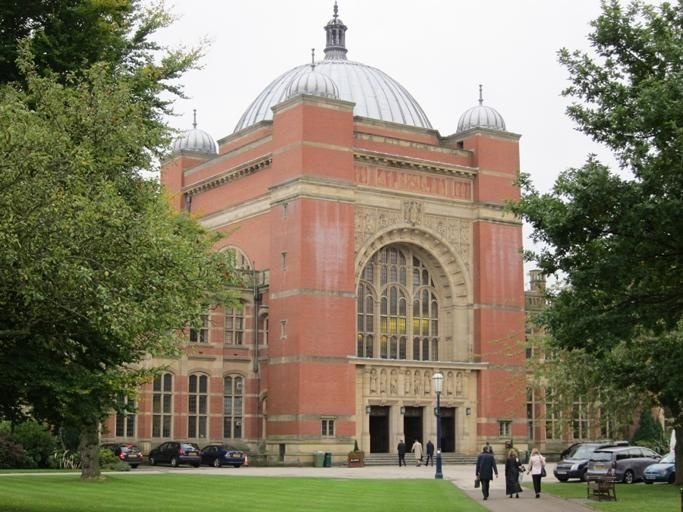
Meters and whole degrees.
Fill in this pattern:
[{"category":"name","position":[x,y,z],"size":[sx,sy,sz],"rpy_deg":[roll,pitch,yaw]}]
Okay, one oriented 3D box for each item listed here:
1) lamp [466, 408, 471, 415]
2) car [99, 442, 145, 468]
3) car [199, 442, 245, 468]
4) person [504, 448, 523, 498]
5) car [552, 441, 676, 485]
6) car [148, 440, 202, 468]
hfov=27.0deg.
[{"category":"lamp","position":[6.839,8.386,76.459],"size":[0.178,0.461,0.335],"rpy_deg":[-10,-21,29]},{"category":"car","position":[-10.328,9.293,66.572],"size":[1.734,1.376,2.591],"rpy_deg":[2,-18,-6]},{"category":"car","position":[-6.003,9.830,69.558],"size":[0.991,0.654,2.182],"rpy_deg":[7,-6,-43]},{"category":"person","position":[6.434,8.171,53.046],"size":[0.578,1.945,1.350],"rpy_deg":[-2,-18,7]},{"category":"car","position":[11.519,8.872,61.426],"size":[4.419,1.241,2.187],"rpy_deg":[2,-7,-34]},{"category":"car","position":[-8.066,9.553,68.512],"size":[2.386,0.826,1.105],"rpy_deg":[-1,-8,43]}]
